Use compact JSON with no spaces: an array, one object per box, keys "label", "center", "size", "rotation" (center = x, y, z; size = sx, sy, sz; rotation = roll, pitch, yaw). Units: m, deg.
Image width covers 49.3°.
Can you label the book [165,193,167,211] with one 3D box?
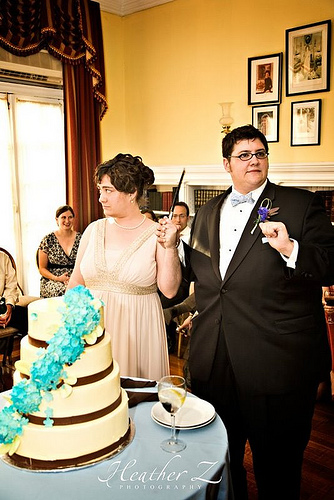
[{"label":"book","center":[-0.019,-0.716,5.450],"size":[0.030,0.262,0.062],"rotation":[2,0,0]}]

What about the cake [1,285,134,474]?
[{"label":"cake","center":[-0.275,0.287,1.056],"size":[0.374,0.423,0.374],"rotation":[-1,3,43]}]

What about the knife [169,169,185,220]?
[{"label":"knife","center":[0.028,-0.169,1.316],"size":[0.020,0.155,0.008],"rotation":[-26,63,-35]}]

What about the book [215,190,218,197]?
[{"label":"book","center":[0.695,-0.812,5.105],"size":[0.037,0.080,0.092],"rotation":[2,0,9]}]

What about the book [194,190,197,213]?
[{"label":"book","center":[0.420,-0.733,5.315],"size":[0.051,0.310,0.029],"rotation":[2,0,35]}]

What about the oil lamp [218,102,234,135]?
[{"label":"oil lamp","center":[0.764,-1.696,4.641],"size":[0.171,0.399,0.339],"rotation":[2,0,13]}]

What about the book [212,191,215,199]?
[{"label":"book","center":[0.654,-0.796,5.109],"size":[0.039,0.079,0.030],"rotation":[2,0,15]}]

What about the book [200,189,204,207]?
[{"label":"book","center":[0.502,-0.758,5.221],"size":[0.042,0.223,0.103],"rotation":[2,0,0]}]

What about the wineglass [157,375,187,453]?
[{"label":"wineglass","center":[0.014,0.444,1.024],"size":[0.079,0.194,0.178],"rotation":[2,0,1]}]

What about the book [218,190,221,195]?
[{"label":"book","center":[0.736,-0.821,5.103],"size":[0.034,0.055,0.082],"rotation":[2,0,7]}]

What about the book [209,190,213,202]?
[{"label":"book","center":[0.622,-0.796,5.141],"size":[0.058,0.130,0.041],"rotation":[2,0,21]}]
